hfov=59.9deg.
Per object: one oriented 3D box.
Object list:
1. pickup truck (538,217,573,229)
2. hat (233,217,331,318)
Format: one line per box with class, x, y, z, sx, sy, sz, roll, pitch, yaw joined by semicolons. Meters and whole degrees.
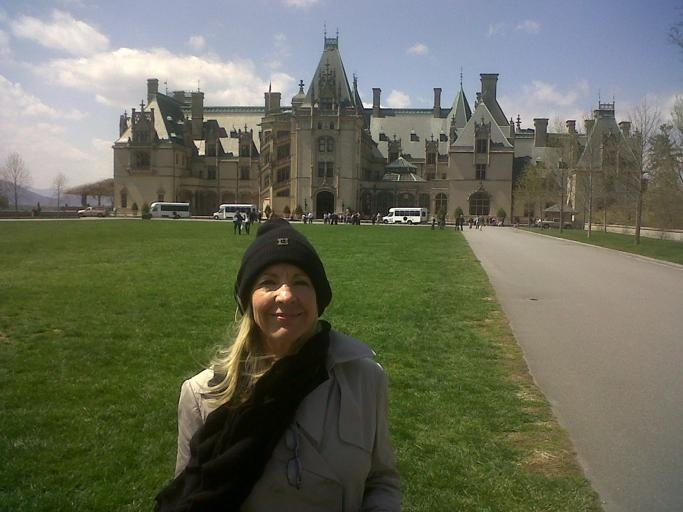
pickup truck;24.526;-3.761;68.121;4.243;1.686;2.127;0;1;-1
hat;-0.417;0.181;4.128;0.517;0.597;0.678;2;-27;-13
